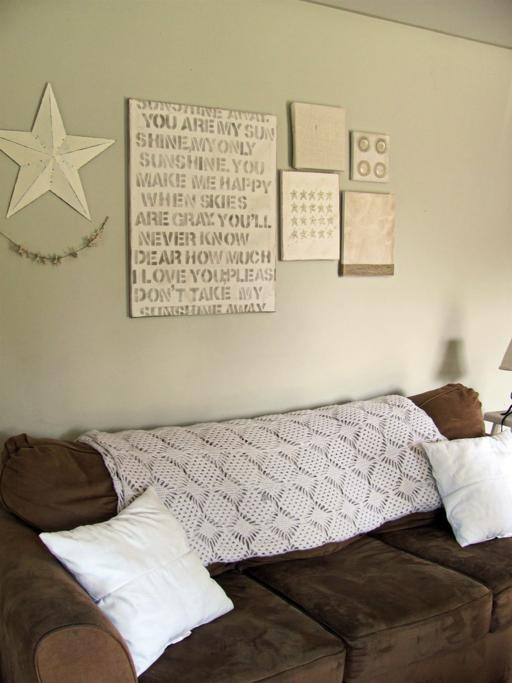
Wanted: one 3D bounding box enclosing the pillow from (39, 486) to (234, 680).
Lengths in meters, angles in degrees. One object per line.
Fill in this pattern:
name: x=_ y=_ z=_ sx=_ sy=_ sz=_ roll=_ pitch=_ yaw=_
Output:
pillow: x=-0.263 y=0.564 z=1.426 sx=0.316 sy=0.265 sz=0.404 roll=8 pitch=11 yaw=26
